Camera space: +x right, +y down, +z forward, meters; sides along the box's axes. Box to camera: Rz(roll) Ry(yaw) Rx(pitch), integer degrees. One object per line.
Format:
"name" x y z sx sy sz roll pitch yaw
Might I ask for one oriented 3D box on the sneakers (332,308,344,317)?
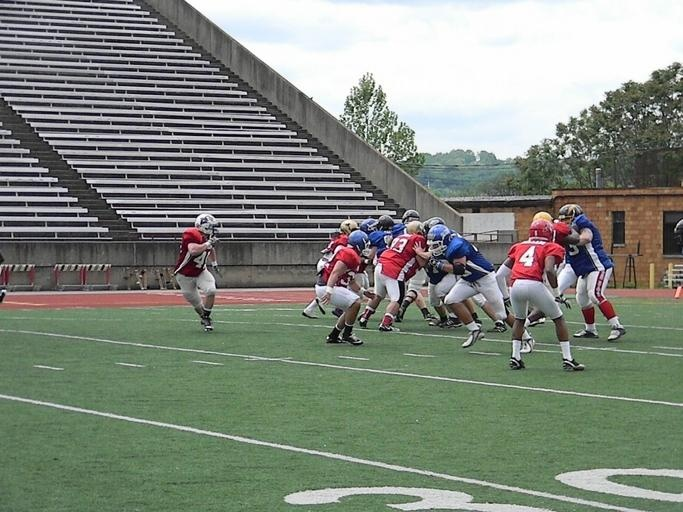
"sneakers" -0.102 1.131 15.765 0.170 0.199 0.475 8 4 9

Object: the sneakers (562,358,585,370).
"sneakers" 2.852 1.343 9.849 0.335 0.129 0.114 1 0 -28

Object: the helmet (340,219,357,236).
"helmet" 0.127 -0.482 13.799 0.317 0.231 0.219 -21 17 2

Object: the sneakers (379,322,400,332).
"sneakers" 0.859 1.240 13.716 0.435 0.159 0.135 0 9 -17

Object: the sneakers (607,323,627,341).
"sneakers" 4.424 1.234 12.898 0.160 0.209 0.472 -22 -4 37

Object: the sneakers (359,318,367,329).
"sneakers" 0.370 1.194 14.202 0.158 0.185 0.203 3 -17 0

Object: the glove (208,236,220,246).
"glove" -2.160 -0.255 13.371 0.153 0.070 0.182 7 -38 -18

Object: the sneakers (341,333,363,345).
"sneakers" 0.161 1.259 12.065 0.382 0.151 0.134 6 8 18

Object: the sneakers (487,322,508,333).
"sneakers" 2.710 1.213 13.771 0.157 0.174 0.428 3 7 3

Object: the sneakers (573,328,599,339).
"sneakers" 4.030 1.280 13.215 0.383 0.129 0.172 3 -1 3

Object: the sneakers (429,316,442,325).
"sneakers" 1.761 1.230 15.207 0.224 0.236 0.593 2 1 2

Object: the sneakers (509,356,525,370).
"sneakers" 2.167 1.320 9.875 0.193 0.155 0.203 0 -2 5

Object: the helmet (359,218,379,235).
"helmet" 0.570 -0.544 15.785 0.320 0.323 0.275 24 12 -23

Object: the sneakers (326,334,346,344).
"sneakers" -0.082 1.272 12.213 0.325 0.115 0.106 0 10 4

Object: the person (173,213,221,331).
"person" -2.521 0.253 13.825 0.692 2.040 1.489 1 -2 -9

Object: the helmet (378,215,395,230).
"helmet" 0.891 -0.665 15.594 0.284 0.281 0.301 3 4 -8

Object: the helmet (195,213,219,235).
"helmet" -2.310 -0.550 13.717 0.526 0.387 0.370 6 17 -7

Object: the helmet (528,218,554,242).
"helmet" 2.470 -0.329 9.966 0.264 0.231 0.329 5 12 25
